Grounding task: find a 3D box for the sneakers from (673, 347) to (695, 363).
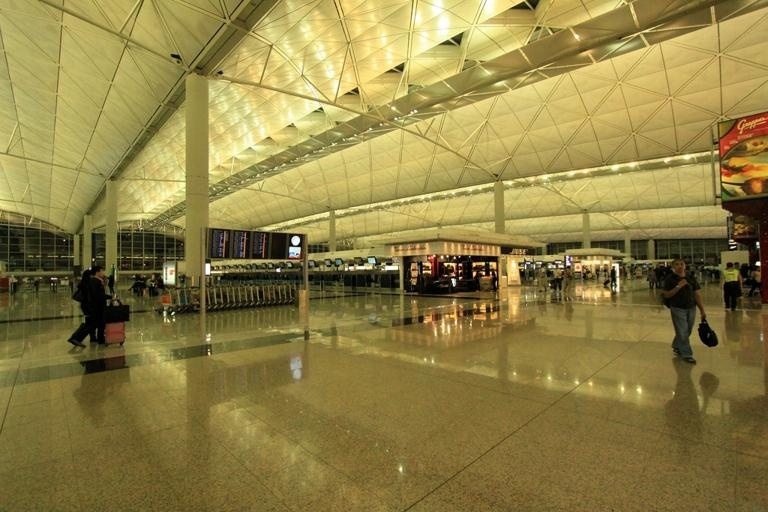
[{"bbox_3d":[10.148,3.424,17.505,0.240,0.262,0.668,-4,-1,0],"label":"sneakers"}]
